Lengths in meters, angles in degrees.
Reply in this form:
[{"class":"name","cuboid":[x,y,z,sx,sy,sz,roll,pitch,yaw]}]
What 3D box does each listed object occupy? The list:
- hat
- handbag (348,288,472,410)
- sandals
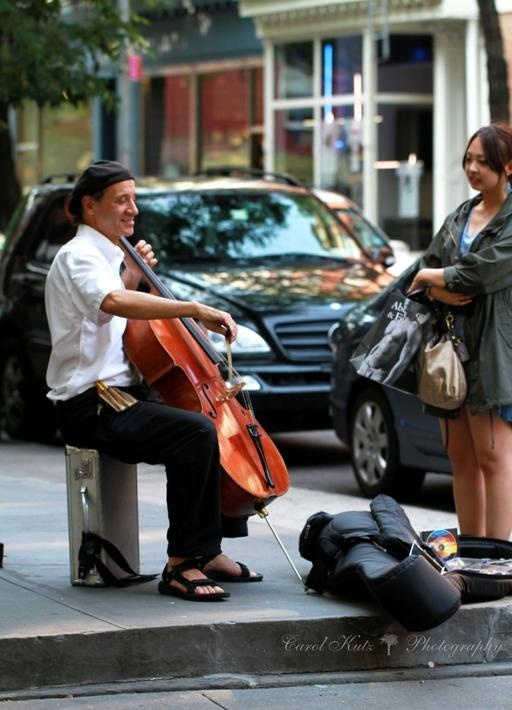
[{"class":"hat","cuboid":[-0.551,-0.587,3.470,0.166,0.195,0.100,-3,50,-50]},{"class":"handbag","cuboid":[0.592,-0.014,3.731,0.455,0.428,0.160,30,10,20]},{"class":"sandals","cuboid":[-0.172,0.762,3.538,0.261,0.171,0.480,1,4,18]}]
